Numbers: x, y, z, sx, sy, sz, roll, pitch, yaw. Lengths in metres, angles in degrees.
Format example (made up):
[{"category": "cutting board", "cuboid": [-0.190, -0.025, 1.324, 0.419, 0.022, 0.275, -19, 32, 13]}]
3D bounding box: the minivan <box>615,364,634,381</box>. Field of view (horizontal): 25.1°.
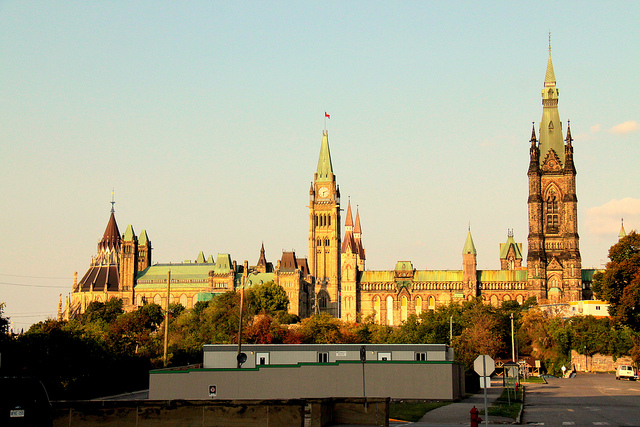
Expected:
[{"category": "minivan", "cuboid": [39.754, 20.555, 189.035, 1.787, 2.044, 4.011, 0, -9, -14]}]
